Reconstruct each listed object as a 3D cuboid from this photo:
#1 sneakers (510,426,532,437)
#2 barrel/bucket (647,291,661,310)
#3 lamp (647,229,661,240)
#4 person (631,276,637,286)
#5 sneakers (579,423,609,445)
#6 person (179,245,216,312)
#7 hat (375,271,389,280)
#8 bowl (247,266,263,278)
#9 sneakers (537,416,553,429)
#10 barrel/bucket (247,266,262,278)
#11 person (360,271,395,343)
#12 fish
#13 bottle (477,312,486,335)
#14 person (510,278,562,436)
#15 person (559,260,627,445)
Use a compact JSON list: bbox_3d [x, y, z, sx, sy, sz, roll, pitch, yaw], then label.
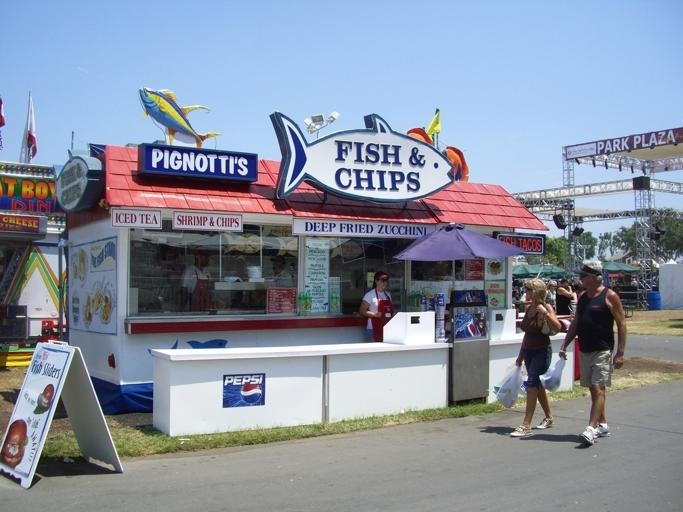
[{"bbox_3d":[2.572,2.501,10.633,0.338,0.138,0.131,5,-10,-26],"label":"sneakers"},{"bbox_3d":[17.237,2.392,40.846,0.856,0.985,0.881,0,5,0],"label":"barrel/bucket"},{"bbox_3d":[17.308,-1.215,40.681,0.442,0.634,0.652,1,5,8],"label":"lamp"},{"bbox_3d":[16.978,1.409,42.878,0.215,0.681,1.675,1,4,16],"label":"person"},{"bbox_3d":[3.486,2.437,10.194,0.575,0.279,0.205,9,-15,-42],"label":"sneakers"},{"bbox_3d":[-2.500,0.407,12.770,0.492,1.032,0.295,-1,3,-14],"label":"person"},{"bbox_3d":[0.716,0.347,13.528,0.143,0.108,0.197,0,-7,-43],"label":"hat"},{"bbox_3d":[-1.576,0.270,13.232,0.198,0.193,0.203,1,-1,0],"label":"bowl"},{"bbox_3d":[3.009,2.461,10.961,0.324,0.134,0.117,8,-10,-39],"label":"sneakers"},{"bbox_3d":[-1.562,0.278,13.265,0.205,0.193,0.211,1,0,0],"label":"barrel/bucket"},{"bbox_3d":[0.642,0.924,13.507,0.585,1.235,0.511,0,3,5],"label":"person"},{"bbox_3d":[-3.411,-2.816,14.978,0.499,1.060,1.376,2,4,35],"label":"fish"},{"bbox_3d":[2.367,1.144,12.496,0.221,0.385,0.028,-2,4,-30],"label":"bottle"},{"bbox_3d":[2.841,1.439,10.816,0.654,2.221,0.886,1,3,18],"label":"person"},{"bbox_3d":[3.586,1.275,10.382,0.791,2.505,1.059,1,3,9],"label":"person"}]
